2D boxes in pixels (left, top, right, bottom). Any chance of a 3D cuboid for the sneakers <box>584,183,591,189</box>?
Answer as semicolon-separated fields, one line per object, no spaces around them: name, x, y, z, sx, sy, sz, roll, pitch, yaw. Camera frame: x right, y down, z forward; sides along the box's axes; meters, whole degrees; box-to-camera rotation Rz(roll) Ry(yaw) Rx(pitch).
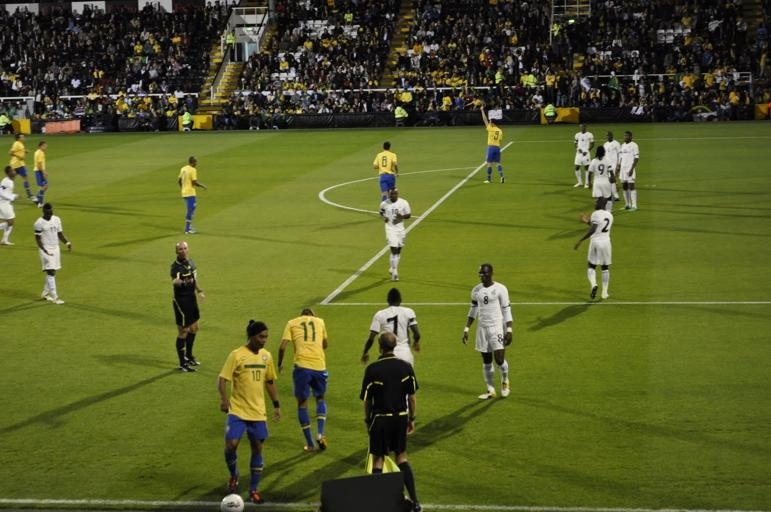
sneakers;8.340;-2.862;42.421;0.191;0.205;0.546;-1;5;16

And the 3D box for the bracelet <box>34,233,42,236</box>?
bracelet;-10.450;-0.649;30.881;0.190;0.165;0.180;0;5;-19

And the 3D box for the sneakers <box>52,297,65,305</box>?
sneakers;-9.990;1.353;31.315;0.431;0.171;0.147;4;11;37

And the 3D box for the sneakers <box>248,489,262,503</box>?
sneakers;-2.812;5.151;22.248;0.278;0.255;0.146;5;12;27

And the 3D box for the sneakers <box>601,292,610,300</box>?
sneakers;6.593;1.191;30.801;0.220;0.272;0.624;-4;0;8

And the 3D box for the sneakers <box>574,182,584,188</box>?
sneakers;7.986;-2.905;42.696;0.140;0.171;0.425;-4;6;-27

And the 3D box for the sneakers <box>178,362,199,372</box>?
sneakers;-5.172;2.880;26.904;0.548;0.216;0.185;1;4;10

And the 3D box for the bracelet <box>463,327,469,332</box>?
bracelet;1.977;1.786;24.954;0.156;0.109;0.148;2;5;6

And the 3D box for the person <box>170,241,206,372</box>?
person;-5.193;1.311;26.889;0.710;3.295;0.787;-3;11;-11

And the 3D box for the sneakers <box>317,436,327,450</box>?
sneakers;-1.471;4.288;23.728;0.144;0.369;0.165;0;54;4

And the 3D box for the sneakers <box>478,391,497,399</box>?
sneakers;2.532;3.383;25.447;0.515;0.199;0.167;4;9;3

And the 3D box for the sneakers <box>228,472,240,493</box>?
sneakers;-3.311;4.909;22.396;0.193;0.197;0.493;2;8;-1

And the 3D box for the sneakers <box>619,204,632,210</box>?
sneakers;9.238;-1.869;39.506;0.264;0.176;0.466;-2;-3;14

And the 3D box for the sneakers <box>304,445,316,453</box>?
sneakers;-1.751;4.395;23.771;0.126;0.120;0.283;-4;7;-44

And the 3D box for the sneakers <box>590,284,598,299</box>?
sneakers;6.270;1.066;30.654;0.180;0.442;0.211;3;27;-2

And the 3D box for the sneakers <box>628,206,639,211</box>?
sneakers;9.405;-1.782;39.050;0.202;0.128;0.338;1;-2;23
